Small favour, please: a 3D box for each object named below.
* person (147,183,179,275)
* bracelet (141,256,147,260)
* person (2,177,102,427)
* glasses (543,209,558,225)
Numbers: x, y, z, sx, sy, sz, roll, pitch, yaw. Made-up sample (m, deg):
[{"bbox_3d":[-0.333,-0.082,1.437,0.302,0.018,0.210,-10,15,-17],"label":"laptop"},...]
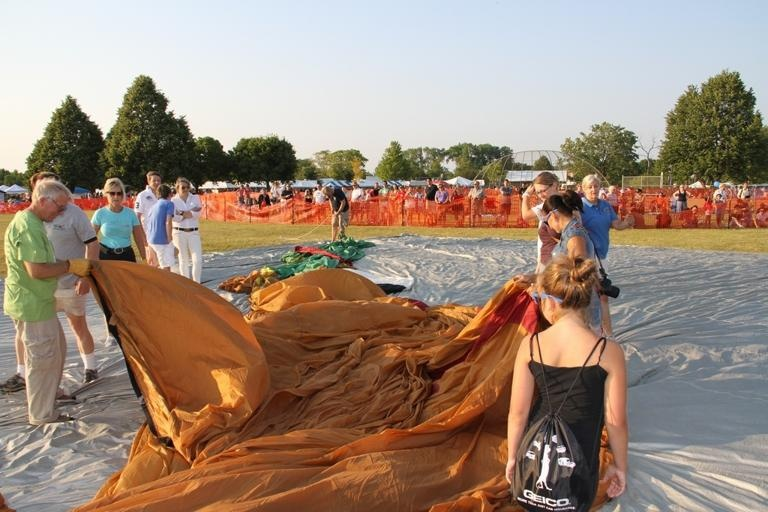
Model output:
[{"bbox_3d":[-3.914,-0.486,10.640,0.514,1.510,0.605,1,14,14],"label":"person"},{"bbox_3d":[-3.854,0.021,9.748,0.086,0.048,0.060,-12,1,-32],"label":"bracelet"},{"bbox_3d":[-3.880,0.501,6.885,0.783,2.647,0.846,-8,15,-22],"label":"person"},{"bbox_3d":[2.042,-0.496,7.468,0.143,0.150,0.044,-6,10,-20],"label":"glasses"}]
